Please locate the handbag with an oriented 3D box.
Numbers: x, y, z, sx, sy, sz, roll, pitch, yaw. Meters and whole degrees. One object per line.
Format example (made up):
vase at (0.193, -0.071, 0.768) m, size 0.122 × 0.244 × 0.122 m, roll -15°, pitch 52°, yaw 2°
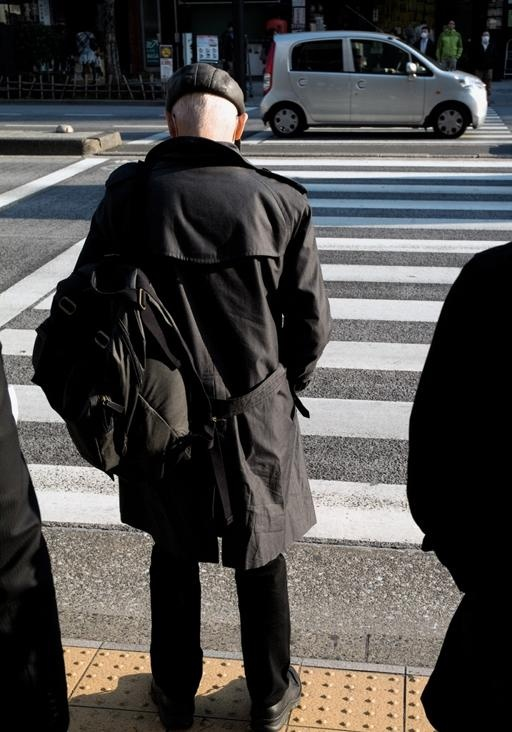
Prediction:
handbag at (-0.310, 0.003, 2.168) m, size 0.413 × 0.690 × 0.500 m, roll -31°, pitch 46°, yaw -21°
